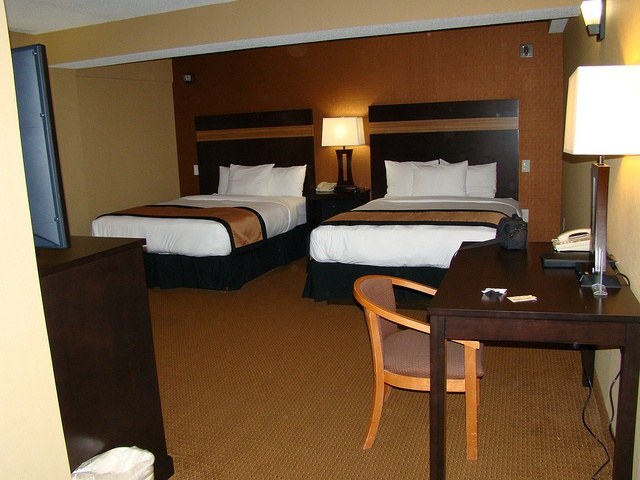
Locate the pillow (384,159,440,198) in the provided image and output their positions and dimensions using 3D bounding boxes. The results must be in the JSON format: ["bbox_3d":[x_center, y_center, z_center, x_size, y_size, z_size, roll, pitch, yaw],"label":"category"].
[{"bbox_3d":[1.059,-0.683,5.857,0.469,0.363,0.170,-1,8,6],"label":"pillow"}]

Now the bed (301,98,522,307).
[{"bbox_3d":[0.827,-0.639,5.291,2.164,2.228,2.248,3,5,24],"label":"bed"}]

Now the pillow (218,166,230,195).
[{"bbox_3d":[-1.321,-0.804,7.049,0.095,0.336,0.318,5,3,-11],"label":"pillow"}]

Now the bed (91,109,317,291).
[{"bbox_3d":[-1.065,-0.620,6.097,1.764,1.807,2.517,1,12,9],"label":"bed"}]

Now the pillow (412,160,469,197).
[{"bbox_3d":[1.331,-0.658,5.691,0.400,0.306,0.147,0,-23,15],"label":"pillow"}]

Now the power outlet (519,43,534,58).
[{"bbox_3d":[2.280,-2.070,5.677,0.148,0.139,0.026,1,12,10],"label":"power outlet"}]

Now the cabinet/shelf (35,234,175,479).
[{"bbox_3d":[-0.917,0.627,2.278,0.139,1.175,0.531,7,14,31],"label":"cabinet/shelf"}]

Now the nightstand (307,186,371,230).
[{"bbox_3d":[0.181,-0.412,6.189,0.610,0.609,0.488,0,5,12],"label":"nightstand"}]

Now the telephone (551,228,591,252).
[{"bbox_3d":[1.385,0.007,2.831,0.135,0.063,0.142,3,8,19],"label":"telephone"}]

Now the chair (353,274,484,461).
[{"bbox_3d":[0.475,0.623,2.903,0.757,0.996,0.887,-1,11,11],"label":"chair"}]

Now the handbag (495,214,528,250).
[{"bbox_3d":[1.120,-0.032,3.039,0.160,0.171,0.235,0,9,11],"label":"handbag"}]

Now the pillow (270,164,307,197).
[{"bbox_3d":[-0.410,-0.748,6.615,0.432,0.325,0.170,4,-27,20],"label":"pillow"}]

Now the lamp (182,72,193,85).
[{"bbox_3d":[-1.872,-2.278,7.312,0.191,0.146,0.060,6,14,28],"label":"lamp"}]
